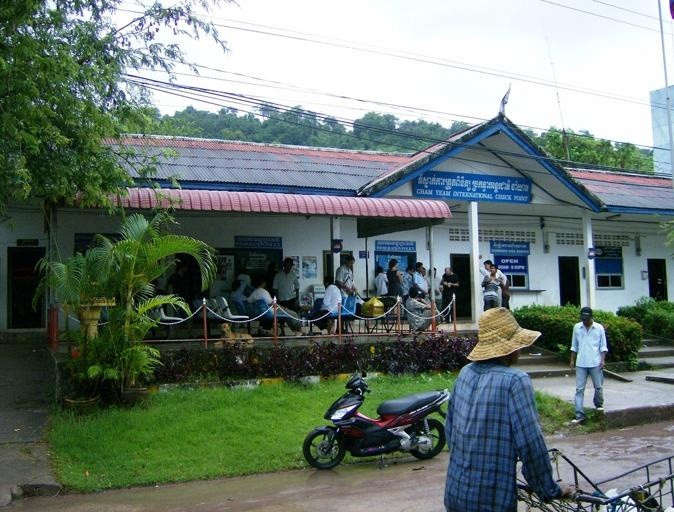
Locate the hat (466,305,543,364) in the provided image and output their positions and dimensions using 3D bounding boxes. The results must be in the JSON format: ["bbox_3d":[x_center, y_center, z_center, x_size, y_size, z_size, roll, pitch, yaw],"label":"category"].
[{"bbox_3d":[1.479,0.712,6.057,0.554,0.290,0.542,-16,0,-18],"label":"hat"}]

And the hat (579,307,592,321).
[{"bbox_3d":[4.397,1.009,11.794,0.181,0.170,0.308,-1,-5,28],"label":"hat"}]

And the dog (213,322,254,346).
[{"bbox_3d":[-2.066,1.619,13.447,0.740,0.487,0.892,0,12,-11],"label":"dog"}]

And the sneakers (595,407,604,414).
[{"bbox_3d":[4.600,2.698,11.694,0.093,0.036,0.117,-3,7,-17],"label":"sneakers"}]

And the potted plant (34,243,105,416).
[{"bbox_3d":[-4.349,1.180,11.357,1.336,2.615,0.946,10,14,33],"label":"potted plant"}]

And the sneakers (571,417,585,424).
[{"bbox_3d":[4.181,2.856,11.573,0.253,0.117,0.104,-7,-20,26],"label":"sneakers"}]

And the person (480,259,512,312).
[{"bbox_3d":[4.112,0.832,17.271,0.719,1.472,2.675,5,12,13],"label":"person"}]

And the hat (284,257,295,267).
[{"bbox_3d":[-1.105,0.134,15.919,0.219,0.270,0.285,1,-9,-9],"label":"hat"}]
